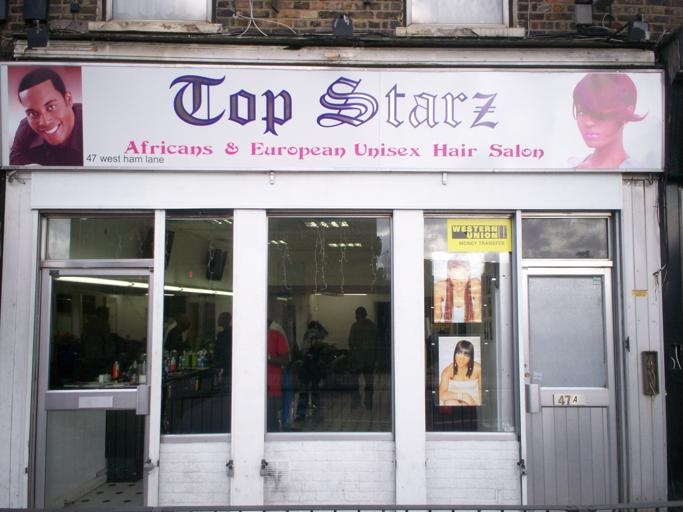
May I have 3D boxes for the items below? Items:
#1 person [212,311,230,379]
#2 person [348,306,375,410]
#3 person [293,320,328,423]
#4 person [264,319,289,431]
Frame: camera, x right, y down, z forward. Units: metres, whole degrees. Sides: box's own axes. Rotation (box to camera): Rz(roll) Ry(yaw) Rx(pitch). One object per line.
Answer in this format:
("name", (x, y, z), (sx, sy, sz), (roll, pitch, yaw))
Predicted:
("person", (-1.390, 1.027, 11.572), (0.193, 0.765, 0.088), (1, -8, -3))
("person", (0.222, 1.180, 11.652), (0.304, 1.169, 0.083), (1, -8, -1))
("person", (-0.355, 1.320, 11.661), (0.326, 1.125, 0.104), (2, -8, -13))
("person", (-0.748, 1.364, 11.602), (0.244, 1.247, 0.088), (1, -8, -4))
